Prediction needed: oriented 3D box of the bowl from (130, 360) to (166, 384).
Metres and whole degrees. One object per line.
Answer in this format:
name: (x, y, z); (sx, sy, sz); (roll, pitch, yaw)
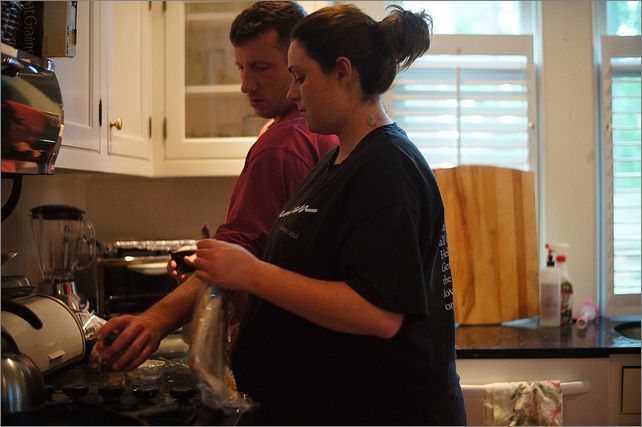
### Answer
bowl: (-0.492, 0.456, 1.660); (0.082, 0.060, 0.100); (1, -3, 21)

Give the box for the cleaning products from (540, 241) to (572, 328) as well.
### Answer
cleaning products: (1.049, 0.314, 2.550); (0.168, 0.347, 0.167); (-1, -3, 34)

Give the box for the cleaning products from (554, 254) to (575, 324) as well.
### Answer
cleaning products: (1.035, 0.342, 2.575); (0.120, 0.275, 0.190); (-1, -2, 21)

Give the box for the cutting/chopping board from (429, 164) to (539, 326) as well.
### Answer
cutting/chopping board: (0.765, 0.148, 2.610); (0.511, 0.696, 0.080); (-2, -5, -17)

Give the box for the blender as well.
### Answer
blender: (-0.922, 0.153, 2.025); (0.235, 0.610, 0.257); (-1, 8, -14)
